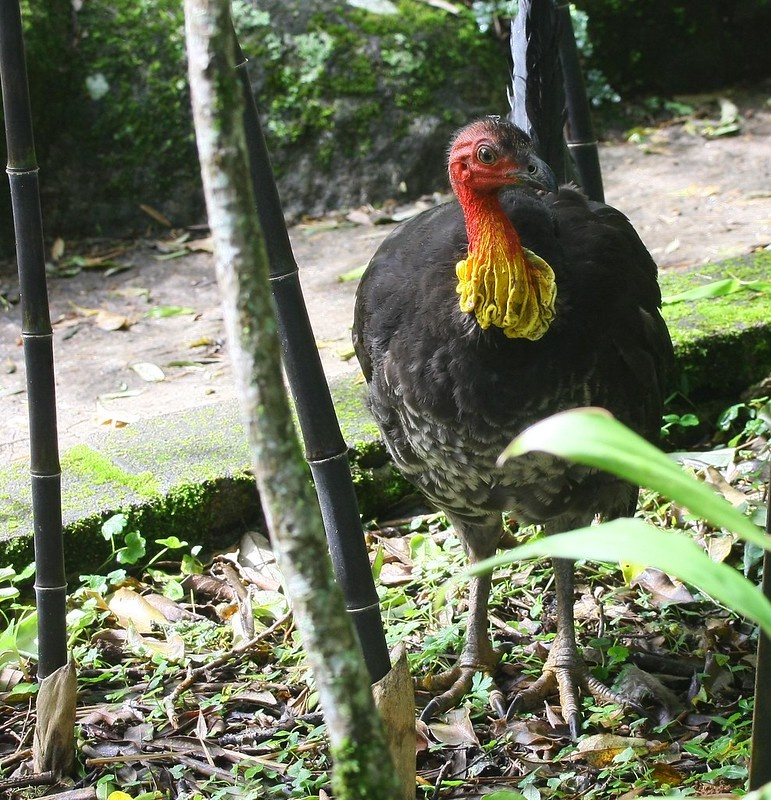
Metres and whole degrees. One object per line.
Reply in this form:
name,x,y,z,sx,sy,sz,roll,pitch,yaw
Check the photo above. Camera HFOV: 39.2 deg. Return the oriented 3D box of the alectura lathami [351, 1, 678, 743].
alectura lathami,0.371,-0.129,2.843,0.867,1.242,0.558,-9,10,-2
